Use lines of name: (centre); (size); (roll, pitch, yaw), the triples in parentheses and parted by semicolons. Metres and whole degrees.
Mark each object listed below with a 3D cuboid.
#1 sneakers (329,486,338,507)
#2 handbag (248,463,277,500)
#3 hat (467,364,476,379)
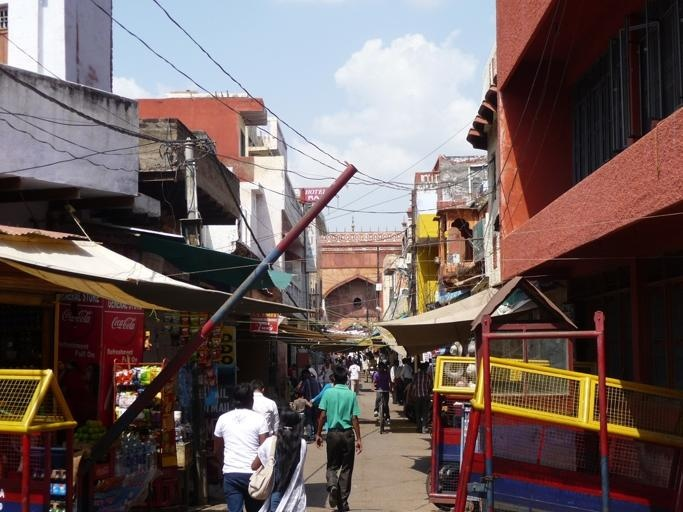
sneakers: (-0.094, 3.112, 12.072); (0.096, 0.323, 0.127); (2, 13, 3)
handbag: (-0.823, 2.389, 9.931); (0.163, 0.339, 0.287); (29, -23, -21)
hat: (1.696, 1.501, 12.192); (0.106, 0.183, 0.049); (3, 3, -10)
